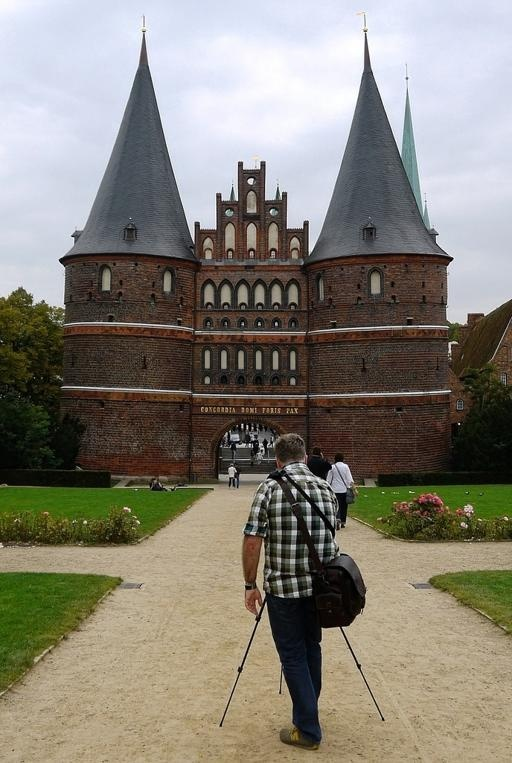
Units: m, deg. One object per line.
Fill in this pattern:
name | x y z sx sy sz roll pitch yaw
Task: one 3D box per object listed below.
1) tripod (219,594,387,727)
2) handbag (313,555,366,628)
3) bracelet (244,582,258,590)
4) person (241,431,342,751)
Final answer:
tripod | 0.243 2.304 6.148 1.105 1.503 1.084 0 -16 -4
handbag | 0.600 1.425 5.200 0.408 0.538 0.599 -5 -8 14
bracelet | -0.035 1.444 5.245 0.070 0.036 0.068 1 -2 -4
person | 0.247 1.434 5.213 0.650 2.126 0.573 0 -4 4
